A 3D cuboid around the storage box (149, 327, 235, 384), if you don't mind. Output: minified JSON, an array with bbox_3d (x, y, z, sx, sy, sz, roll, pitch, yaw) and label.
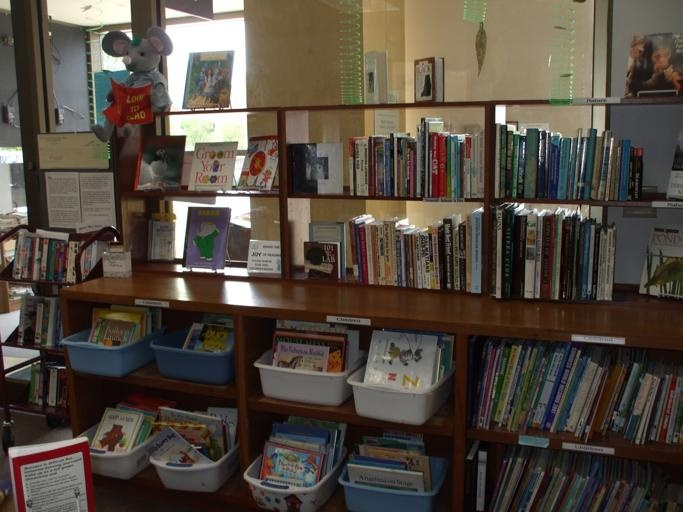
[{"bbox_3d":[-0.766,0.536,2.881,0.343,0.145,0.284,5,0,3],"label":"storage box"}]

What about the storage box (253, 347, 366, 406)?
[{"bbox_3d":[-0.176,0.548,2.700,0.314,0.113,0.269,2,5,18],"label":"storage box"}]

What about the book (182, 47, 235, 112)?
[{"bbox_3d":[-0.764,-1.002,3.230,0.368,0.403,0.018,4,-10,22],"label":"book"}]

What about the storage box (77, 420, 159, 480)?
[{"bbox_3d":[-1.158,1.078,2.982,0.286,0.120,0.346,2,7,9],"label":"storage box"}]

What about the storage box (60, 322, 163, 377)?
[{"bbox_3d":[-1.220,0.474,2.942,0.263,0.129,0.343,4,1,21],"label":"storage box"}]

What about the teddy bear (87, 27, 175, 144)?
[{"bbox_3d":[-1.265,-1.037,3.377,0.437,0.647,0.405,-1,11,2],"label":"teddy bear"}]

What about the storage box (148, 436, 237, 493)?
[{"bbox_3d":[-0.759,1.044,2.835,0.292,0.115,0.263,-1,4,13],"label":"storage box"}]
